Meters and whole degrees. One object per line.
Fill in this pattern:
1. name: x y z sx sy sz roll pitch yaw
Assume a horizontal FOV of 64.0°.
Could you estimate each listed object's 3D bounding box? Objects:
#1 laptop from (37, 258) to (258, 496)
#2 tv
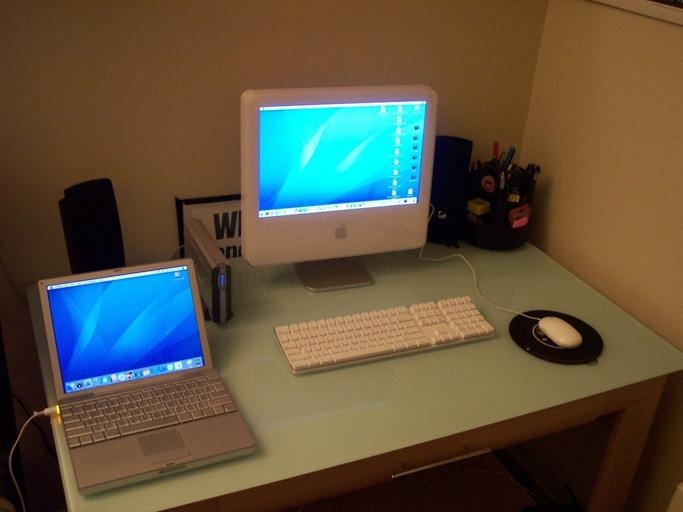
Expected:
1. laptop: -0.425 0.221 1.181 0.401 0.237 0.504 -8 23 -41
2. tv: -0.018 -0.194 1.485 0.458 0.521 0.162 -9 28 -19
